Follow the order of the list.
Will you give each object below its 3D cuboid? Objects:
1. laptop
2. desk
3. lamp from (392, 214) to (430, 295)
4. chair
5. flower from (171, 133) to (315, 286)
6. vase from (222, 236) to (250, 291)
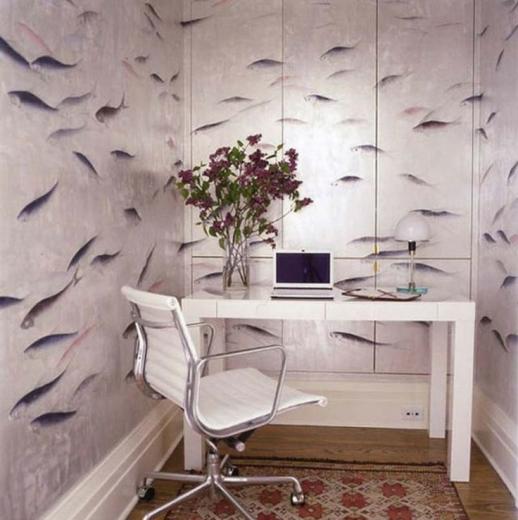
[{"bbox_3d":[0.229,0.071,2.775,0.336,0.220,0.240,0,8,-1],"label":"laptop"},{"bbox_3d":[0.316,0.613,2.783,1.440,0.865,0.587,0,3,-1],"label":"desk"},{"bbox_3d":[0.841,-0.038,2.955,0.199,0.445,0.200,0,2,9],"label":"lamp"},{"bbox_3d":[-0.189,0.522,2.501,0.957,1.149,0.864,-3,5,-24],"label":"chair"},{"bbox_3d":[-0.072,-0.292,3.077,0.775,0.834,0.504,-2,7,-10],"label":"flower"},{"bbox_3d":[-0.127,0.013,3.034,0.145,0.266,0.352,-1,7,-3],"label":"vase"}]
